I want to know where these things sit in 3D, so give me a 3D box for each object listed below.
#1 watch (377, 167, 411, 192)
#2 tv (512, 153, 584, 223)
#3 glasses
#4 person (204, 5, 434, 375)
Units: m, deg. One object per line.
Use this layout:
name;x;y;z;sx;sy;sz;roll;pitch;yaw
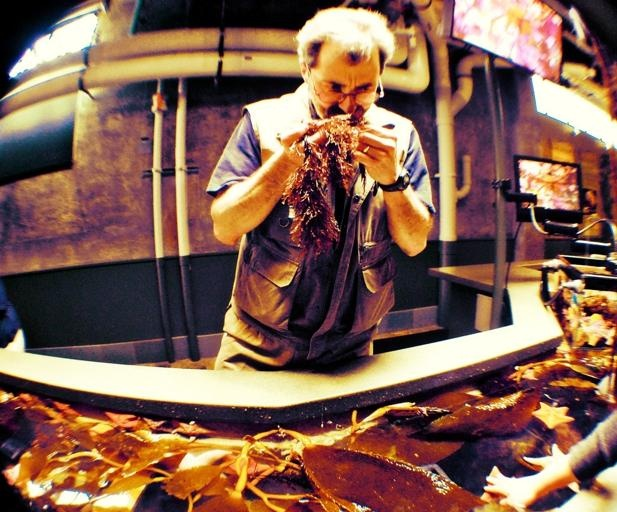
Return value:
watch;0.248;-0.215;1.413;0.086;0.057;0.092;-9;-37;-5
tv;1.107;-0.306;2.174;0.403;0.291;0.042;6;-12;-28
glasses;0.107;-0.507;1.400;0.202;0.096;0.112;0;-3;4
person;0.039;-0.185;1.521;0.719;1.112;0.474;1;-3;-14
